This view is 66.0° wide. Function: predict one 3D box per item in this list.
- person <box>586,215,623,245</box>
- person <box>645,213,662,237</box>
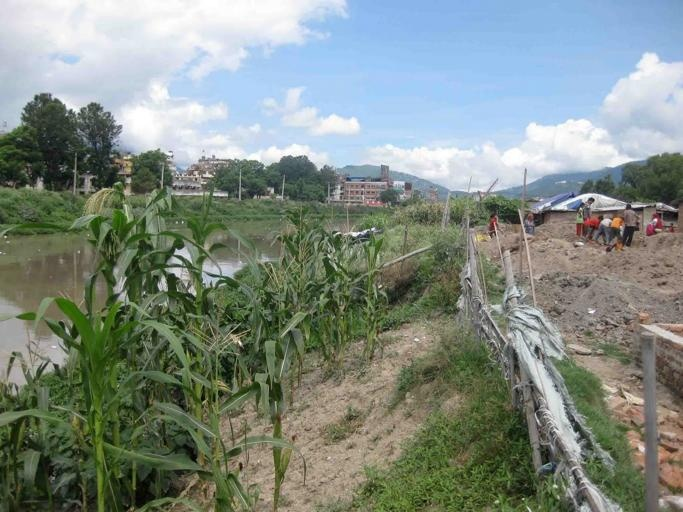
[{"bbox_3d":[8.572,-0.816,16.805,0.800,1.038,1.891,10,18,35],"label":"person"},{"bbox_3d":[10.510,-1.020,17.623,0.388,0.692,2.173,0,3,30],"label":"person"}]
